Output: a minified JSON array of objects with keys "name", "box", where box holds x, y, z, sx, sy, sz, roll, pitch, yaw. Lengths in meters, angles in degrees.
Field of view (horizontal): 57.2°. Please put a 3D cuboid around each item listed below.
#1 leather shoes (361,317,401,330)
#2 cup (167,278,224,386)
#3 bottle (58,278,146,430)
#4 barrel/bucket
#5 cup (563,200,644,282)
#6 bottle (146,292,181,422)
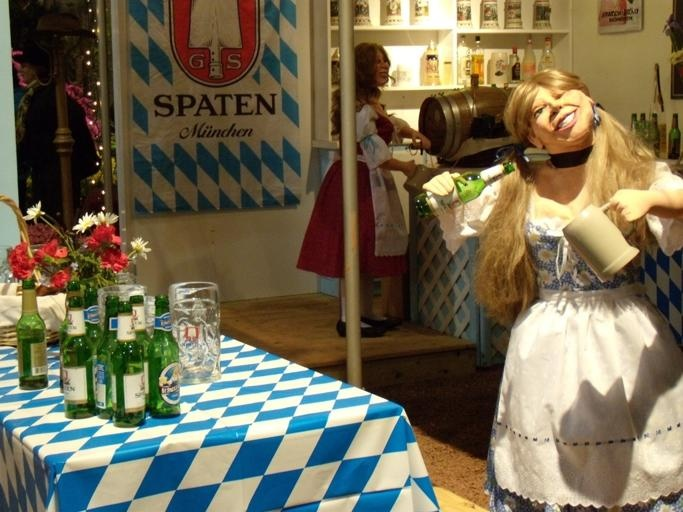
[{"name":"leather shoes","box":[0.287,0.459,4.477,0.279,0.101,0.111,1,11,0]},{"name":"cup","box":[-0.398,0.198,1.725,0.136,0.281,0.153,6,9,26]},{"name":"bottle","box":[-0.569,0.219,1.492,0.177,0.307,0.361,-3,10,-24]},{"name":"barrel/bucket","box":[0.872,-0.842,4.423,0.607,0.560,0.543,-10,6,-36]},{"name":"cup","box":[0.698,-0.040,1.691,0.183,0.192,0.118,5,9,28]},{"name":"bottle","box":[-0.424,0.223,1.495,0.075,0.284,0.172,-2,8,-17]}]
